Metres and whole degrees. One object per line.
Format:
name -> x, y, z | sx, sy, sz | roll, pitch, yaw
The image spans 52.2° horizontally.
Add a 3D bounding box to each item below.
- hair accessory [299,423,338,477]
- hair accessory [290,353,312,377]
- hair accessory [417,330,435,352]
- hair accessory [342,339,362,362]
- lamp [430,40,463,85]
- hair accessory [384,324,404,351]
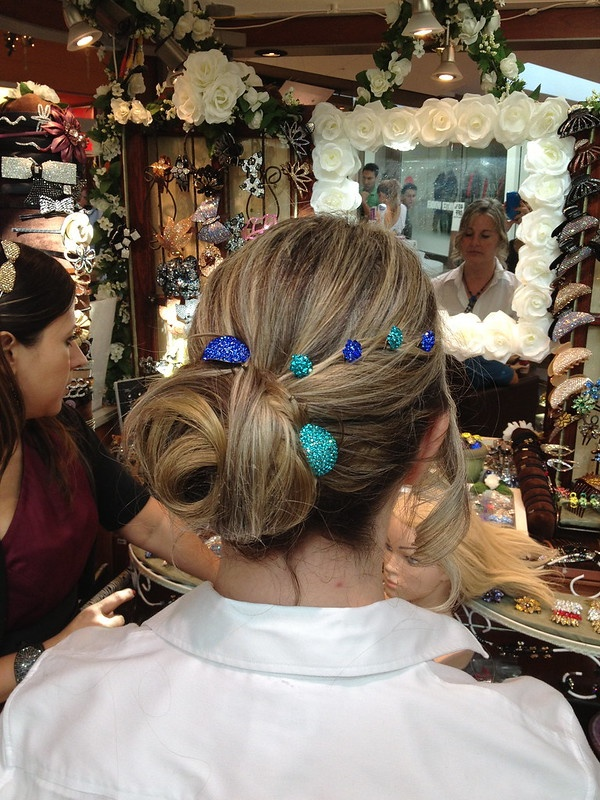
hair accessory -> 0.013, 0.034, 0.435 | 0.010, 0.035, 0.032 | -13, 40, 39
hair accessory -> 0.001, -0.025, 0.430 | 0.015, 0.015, 0.005 | -16, 5, -27
hair accessory -> 0.101, -0.047, 0.491 | 0.014, 0.017, 0.005 | -24, 31, -30
hair accessory -> 0.038, -0.036, 0.433 | 0.006, 0.014, 0.015 | 1, 26, 33
lamp -> 0.372, -0.872, 1.568 | 0.080, 0.076, 0.076 | -1, 14, 1
hair accessory -> 0.070, -0.045, 0.449 | 0.005, 0.016, 0.017 | -1, 39, 32
